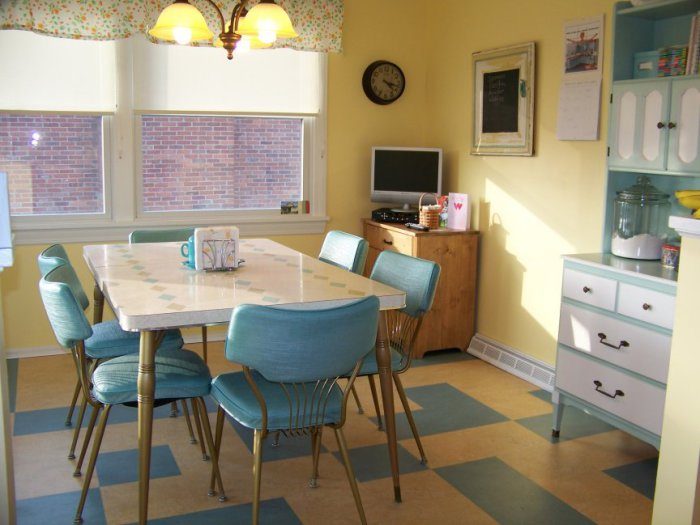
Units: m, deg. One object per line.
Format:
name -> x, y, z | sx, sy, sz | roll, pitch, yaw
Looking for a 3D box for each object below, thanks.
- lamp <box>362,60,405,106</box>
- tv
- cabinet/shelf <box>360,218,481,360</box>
lamp -> 0.296, -1.546, 4.774 | 0.363, 0.372, 0.089 | 3, 5, -18
tv -> 0.474, -0.697, 4.591 | 0.575, 0.452, 0.186 | 2, 5, 15
cabinet/shelf -> 0.613, 0.135, 5.028 | 0.900, 1.538, 1.194 | -1, 9, -19
